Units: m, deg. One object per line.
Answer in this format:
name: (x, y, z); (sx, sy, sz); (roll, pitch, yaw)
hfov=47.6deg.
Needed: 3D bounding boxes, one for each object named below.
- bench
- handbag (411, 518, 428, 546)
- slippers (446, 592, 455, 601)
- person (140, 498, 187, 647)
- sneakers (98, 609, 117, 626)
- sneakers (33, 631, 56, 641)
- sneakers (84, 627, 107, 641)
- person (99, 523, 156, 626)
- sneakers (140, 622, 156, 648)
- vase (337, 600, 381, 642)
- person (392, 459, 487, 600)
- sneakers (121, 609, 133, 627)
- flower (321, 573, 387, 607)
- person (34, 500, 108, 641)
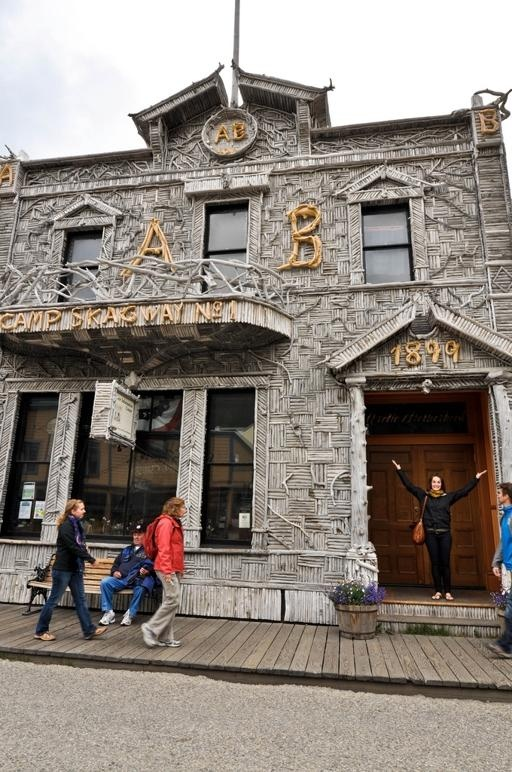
bench: (-2.479, 2.698, 7.929); (1.447, 0.570, 0.477); (-7, -6, 31)
handbag: (2.333, 2.067, 8.304); (0.154, 0.329, 0.229); (-2, -15, 17)
slippers: (2.600, 2.834, 7.814); (0.074, 0.086, 0.208); (-3, -18, 3)
person: (-1.009, 2.053, 6.474); (0.394, 1.588, 0.479); (3, -15, 0)
sneakers: (-1.892, 2.952, 7.419); (0.123, 0.200, 0.330); (-2, -22, 14)
sneakers: (-2.401, 2.820, 6.571); (0.227, 0.089, 0.091); (2, -2, 5)
sneakers: (-1.844, 2.853, 6.722); (0.257, 0.109, 0.095); (-5, 0, -36)
person: (-1.670, 2.476, 7.665); (0.684, 1.126, 0.757); (1, -15, 15)
sneakers: (-1.178, 2.694, 6.315); (0.140, 0.304, 0.135); (0, -7, 0)
vase: (1.215, 2.783, 6.894); (0.473, 0.324, 0.425); (2, -25, -3)
person: (2.539, 2.099, 8.247); (0.695, 1.681, 0.781); (1, -15, 8)
sneakers: (-1.680, 2.963, 7.446); (0.104, 0.121, 0.275); (1, -6, 3)
flower: (1.214, 2.509, 7.016); (0.642, 0.281, 0.253); (0, -14, 9)
person: (-2.101, 2.112, 6.760); (0.626, 1.561, 0.595); (11, -17, -28)
